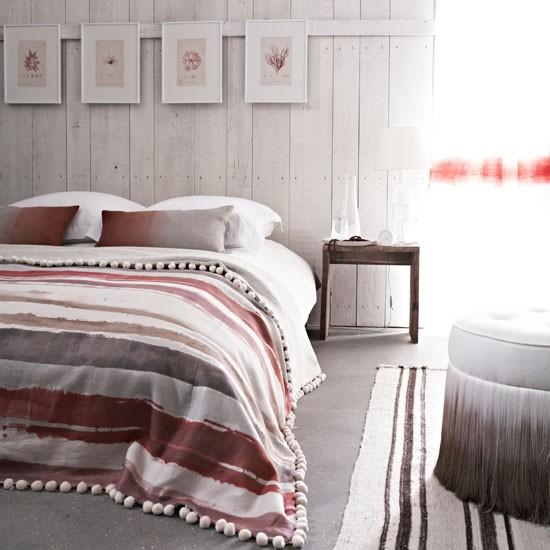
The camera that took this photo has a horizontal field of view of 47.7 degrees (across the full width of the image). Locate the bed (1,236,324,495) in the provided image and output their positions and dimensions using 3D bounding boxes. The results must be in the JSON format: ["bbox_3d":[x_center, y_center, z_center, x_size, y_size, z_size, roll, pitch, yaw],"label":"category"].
[{"bbox_3d":[-0.175,0.138,2.561,0.949,0.523,1.634,6,9,32],"label":"bed"}]

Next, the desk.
[{"bbox_3d":[0.502,0.066,3.363,0.479,0.559,0.306,1,18,6],"label":"desk"}]

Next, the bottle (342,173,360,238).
[{"bbox_3d":[0.404,-0.366,3.330,0.099,0.328,0.164,1,7,-1],"label":"bottle"}]
